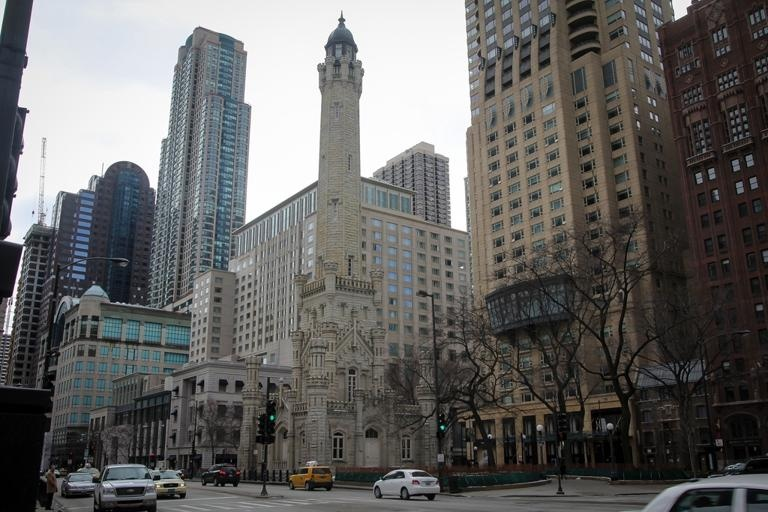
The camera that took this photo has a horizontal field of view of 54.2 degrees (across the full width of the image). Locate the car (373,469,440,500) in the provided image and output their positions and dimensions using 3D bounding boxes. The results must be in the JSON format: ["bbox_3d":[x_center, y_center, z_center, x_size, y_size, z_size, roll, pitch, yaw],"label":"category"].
[{"bbox_3d":[1.635,18.850,61.819,5.279,1.647,2.449,-17,-28,42],"label":"car"}]

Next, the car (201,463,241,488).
[{"bbox_3d":[-17.608,23.364,80.164,2.459,2.519,5.773,11,-24,-31],"label":"car"}]

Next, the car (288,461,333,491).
[{"bbox_3d":[-6.964,21.381,72.600,2.524,1.852,4.290,18,-26,-34],"label":"car"}]

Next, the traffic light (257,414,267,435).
[{"bbox_3d":[-10.459,14.403,64.239,0.648,1.505,1.264,1,-21,-8],"label":"traffic light"}]

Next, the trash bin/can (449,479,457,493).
[{"bbox_3d":[5.966,19.681,64.585,0.824,1.244,0.382,7,-23,-24],"label":"trash bin/can"}]
